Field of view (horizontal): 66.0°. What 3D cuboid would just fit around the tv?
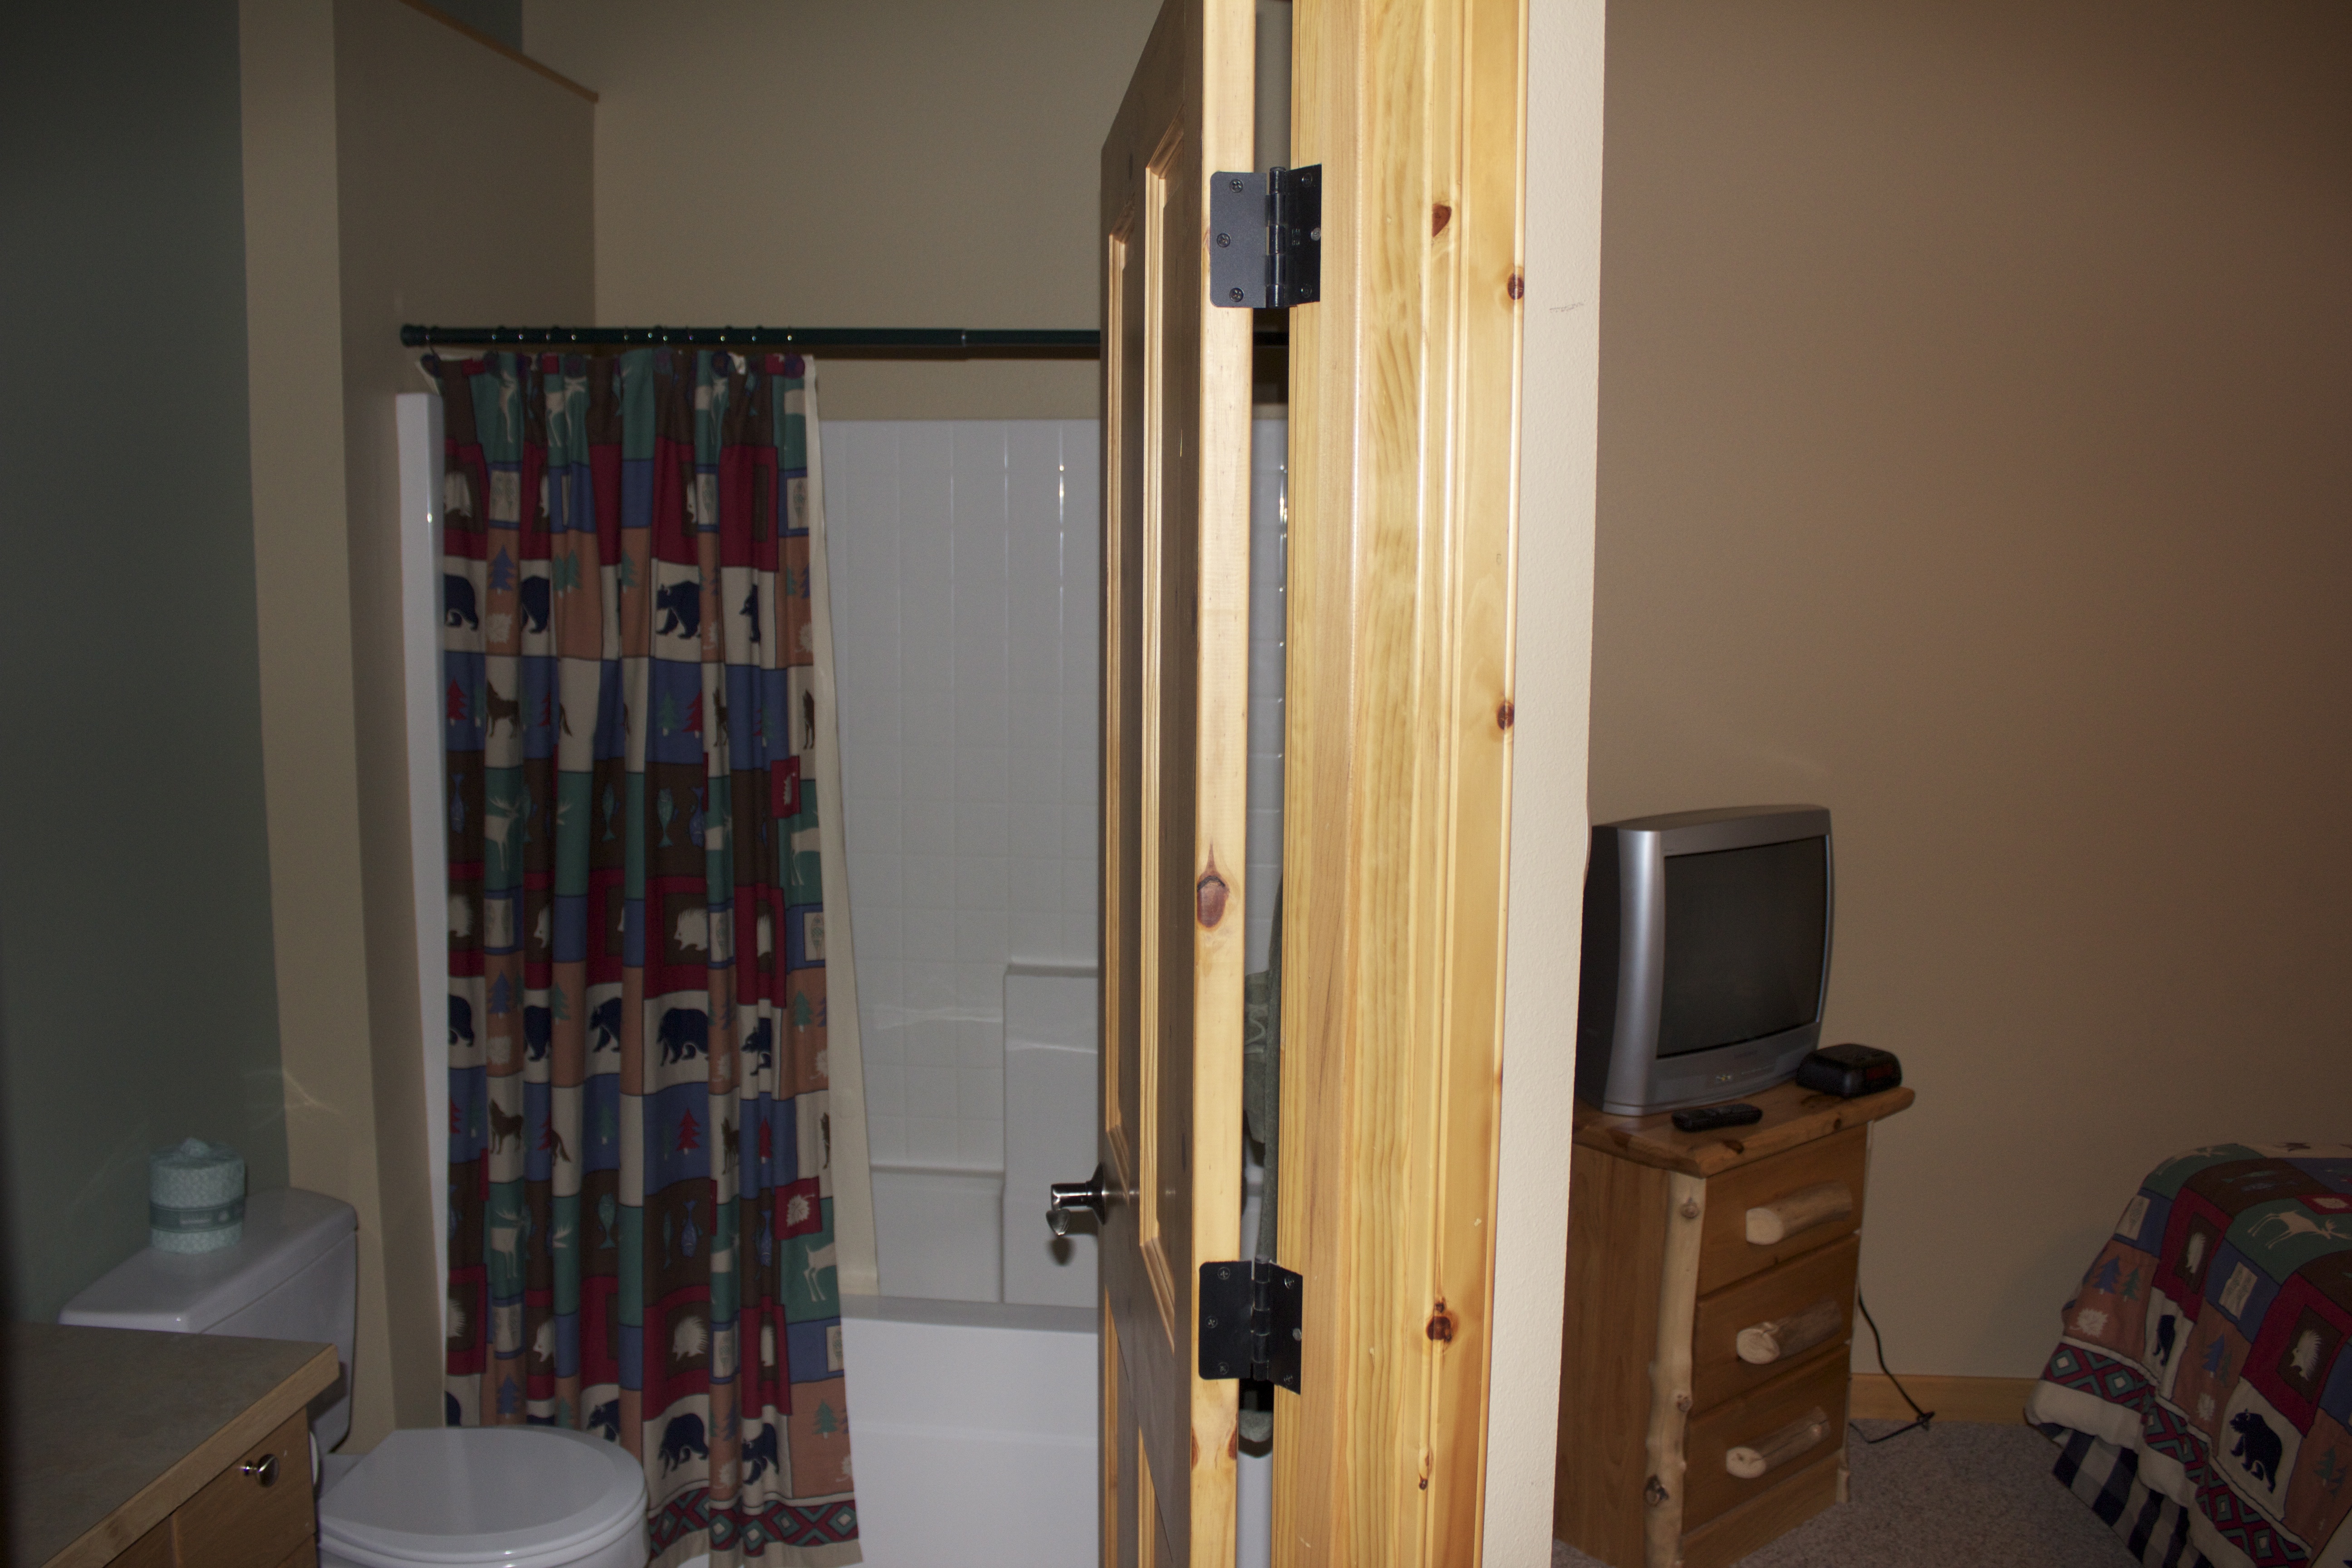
[{"bbox_3d":[1.203,0.384,4.252,0.692,0.649,0.394,-6,9,-33],"label":"tv"}]

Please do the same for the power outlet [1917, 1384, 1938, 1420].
[{"bbox_3d":[1.861,1.558,4.516,0.063,0.061,0.044,3,7,16],"label":"power outlet"}]

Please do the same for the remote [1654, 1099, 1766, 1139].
[{"bbox_3d":[1.177,0.731,3.968,0.162,0.042,0.080,-2,5,-12],"label":"remote"}]

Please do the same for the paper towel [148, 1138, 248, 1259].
[{"bbox_3d":[-1.982,0.833,3.684,0.173,0.205,0.183,8,10,6],"label":"paper towel"}]
